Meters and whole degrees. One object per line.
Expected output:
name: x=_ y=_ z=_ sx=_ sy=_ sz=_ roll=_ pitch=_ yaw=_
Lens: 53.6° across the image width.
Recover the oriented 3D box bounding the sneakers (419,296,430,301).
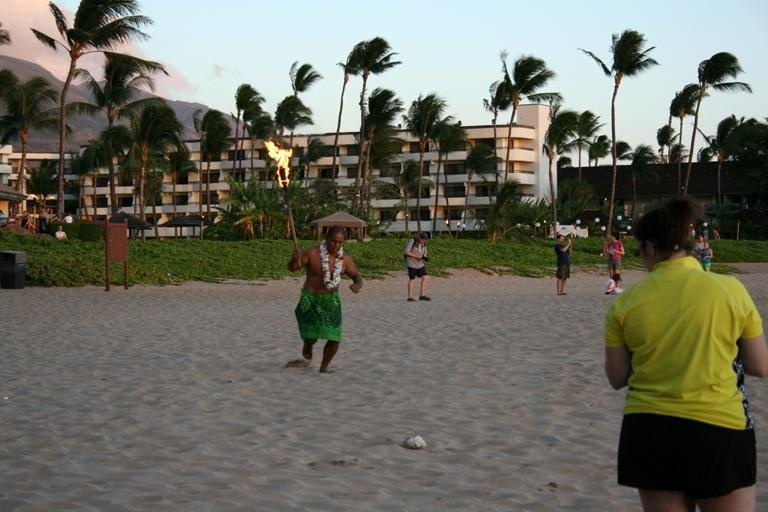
sneakers: x=1.003 y=1.077 z=19.394 sx=0.240 sy=0.095 sz=0.130 roll=-5 pitch=-5 yaw=43
